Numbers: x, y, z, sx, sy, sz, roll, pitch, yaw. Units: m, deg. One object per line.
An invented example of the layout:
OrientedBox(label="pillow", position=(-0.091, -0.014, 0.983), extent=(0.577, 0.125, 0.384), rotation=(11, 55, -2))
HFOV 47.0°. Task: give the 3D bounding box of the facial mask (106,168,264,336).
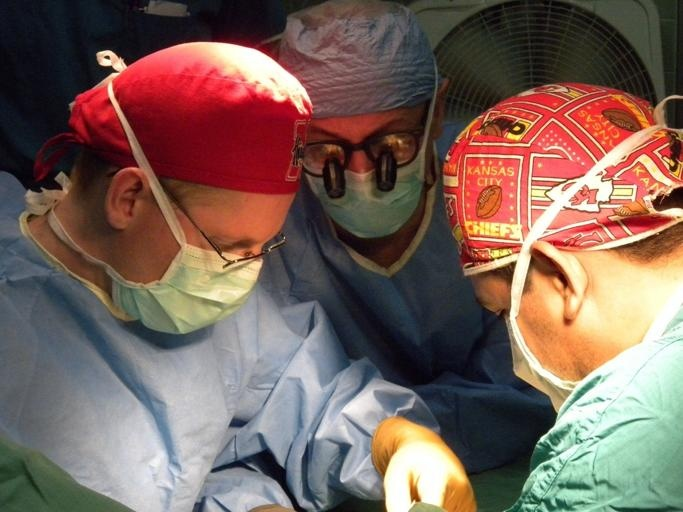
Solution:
OrientedBox(label="facial mask", position=(-0.419, 0.043, 2.117), extent=(0.231, 0.421, 0.338), rotation=(-25, 2, 20))

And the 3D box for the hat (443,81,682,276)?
OrientedBox(label="hat", position=(0.510, -0.196, 1.858), extent=(0.487, 0.321, 0.408), rotation=(15, 62, 32))

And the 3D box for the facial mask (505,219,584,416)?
OrientedBox(label="facial mask", position=(0.452, 0.162, 1.964), extent=(0.333, 0.377, 0.109), rotation=(-6, 7, -25))

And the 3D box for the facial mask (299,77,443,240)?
OrientedBox(label="facial mask", position=(0.104, -0.228, 2.551), extent=(0.412, 0.269, 0.473), rotation=(-8, 70, 20))

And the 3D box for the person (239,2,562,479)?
OrientedBox(label="person", position=(0.175, -0.135, 2.603), extent=(1.004, 1.469, 0.502), rotation=(-16, 20, -23))

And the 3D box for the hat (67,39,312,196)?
OrientedBox(label="hat", position=(-0.361, -0.335, 1.907), extent=(0.472, 0.248, 0.346), rotation=(23, 24, -3))
